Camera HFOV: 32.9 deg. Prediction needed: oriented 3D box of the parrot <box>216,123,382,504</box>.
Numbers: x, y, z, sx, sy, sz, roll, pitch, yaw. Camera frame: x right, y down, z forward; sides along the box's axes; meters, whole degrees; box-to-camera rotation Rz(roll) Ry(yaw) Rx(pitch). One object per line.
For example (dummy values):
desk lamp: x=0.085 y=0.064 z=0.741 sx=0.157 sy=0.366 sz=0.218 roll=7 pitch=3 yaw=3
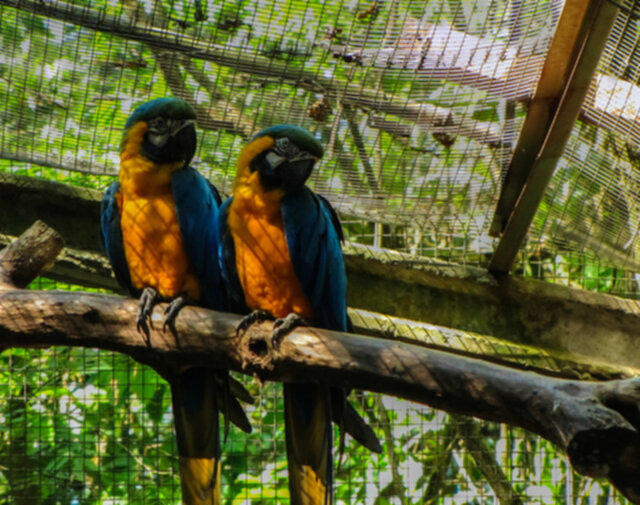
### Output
parrot: x=-0.152 y=0.311 z=5.972 sx=0.746 sy=1.984 sz=0.777 roll=-11 pitch=-31 yaw=12
